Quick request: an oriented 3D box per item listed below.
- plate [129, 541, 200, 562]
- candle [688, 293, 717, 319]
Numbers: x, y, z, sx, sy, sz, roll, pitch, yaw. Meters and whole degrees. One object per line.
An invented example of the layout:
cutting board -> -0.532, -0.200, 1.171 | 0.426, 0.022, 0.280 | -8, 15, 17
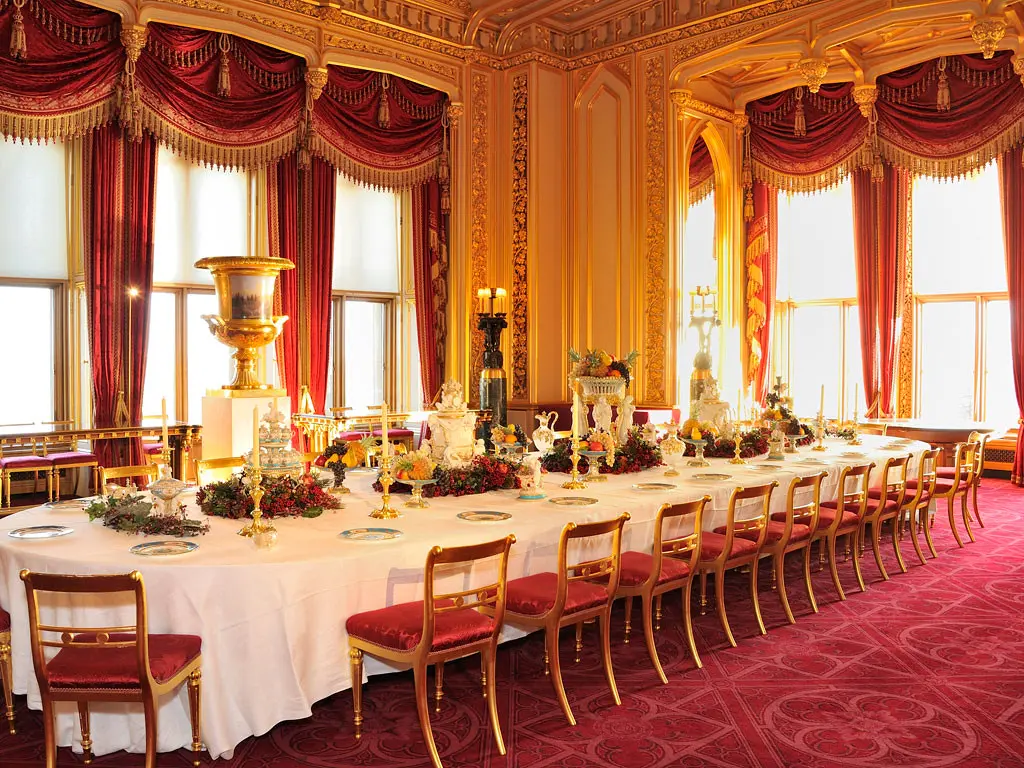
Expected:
plate -> -1.685, 0.806, 4.170 | 0.339, 0.036, 0.226 | 5, 9, 9
candle -> 2.315, -0.948, 10.578 | 0.104, 0.401, 0.458 | 0, 3, 41
